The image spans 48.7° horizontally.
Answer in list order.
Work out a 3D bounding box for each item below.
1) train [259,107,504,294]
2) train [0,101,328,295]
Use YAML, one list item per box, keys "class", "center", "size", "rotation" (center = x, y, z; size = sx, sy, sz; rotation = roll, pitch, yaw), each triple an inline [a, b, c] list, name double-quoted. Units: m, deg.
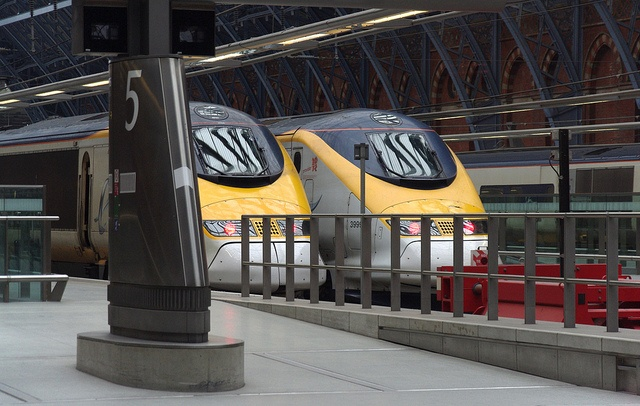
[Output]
- class: "train"
  center: [0.267, -0.600, 22.569]
  size: [3.566, 4.504, 14.161]
  rotation: [-1, 4, -23]
- class: "train"
  center: [-4.469, -0.340, 18.493]
  size: [9.933, 5.022, 2.215]
  rotation: [-3, -5, 34]
